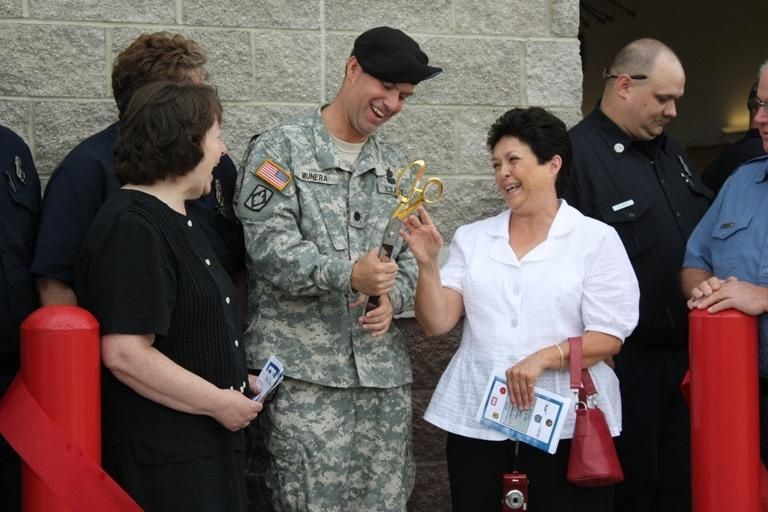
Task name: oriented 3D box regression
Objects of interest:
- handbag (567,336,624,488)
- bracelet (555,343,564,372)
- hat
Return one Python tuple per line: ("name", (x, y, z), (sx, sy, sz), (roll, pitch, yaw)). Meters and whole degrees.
("handbag", (0.905, 0.701, 3.410), (0.226, 0.657, 0.243), (0, 13, 12))
("bracelet", (0.765, 0.442, 3.471), (0.033, 0.096, 0.057), (-6, 14, -17))
("hat", (0.032, -0.963, 3.761), (0.502, 0.179, 0.369), (7, -3, 0))
